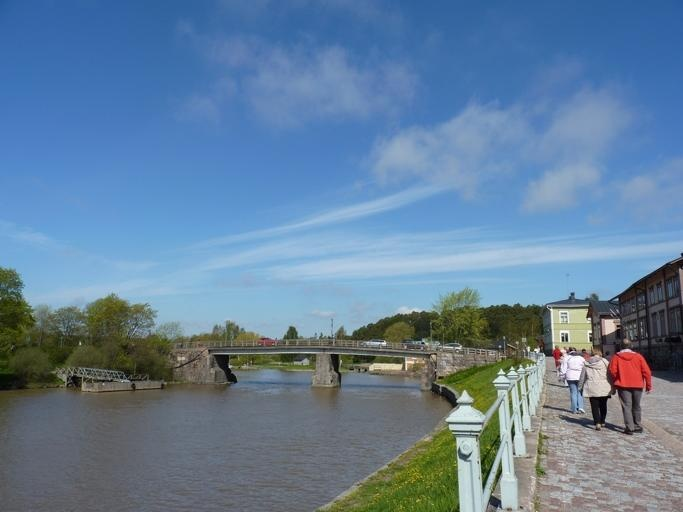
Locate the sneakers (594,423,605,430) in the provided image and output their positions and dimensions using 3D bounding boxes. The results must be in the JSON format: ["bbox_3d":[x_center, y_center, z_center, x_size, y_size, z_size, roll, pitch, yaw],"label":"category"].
[{"bbox_3d":[8.589,5.739,15.954,0.188,0.228,0.568,-6,-20,17],"label":"sneakers"}]

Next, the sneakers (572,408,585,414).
[{"bbox_3d":[9.253,6.161,18.758,0.193,0.249,0.569,-3,-20,11],"label":"sneakers"}]
